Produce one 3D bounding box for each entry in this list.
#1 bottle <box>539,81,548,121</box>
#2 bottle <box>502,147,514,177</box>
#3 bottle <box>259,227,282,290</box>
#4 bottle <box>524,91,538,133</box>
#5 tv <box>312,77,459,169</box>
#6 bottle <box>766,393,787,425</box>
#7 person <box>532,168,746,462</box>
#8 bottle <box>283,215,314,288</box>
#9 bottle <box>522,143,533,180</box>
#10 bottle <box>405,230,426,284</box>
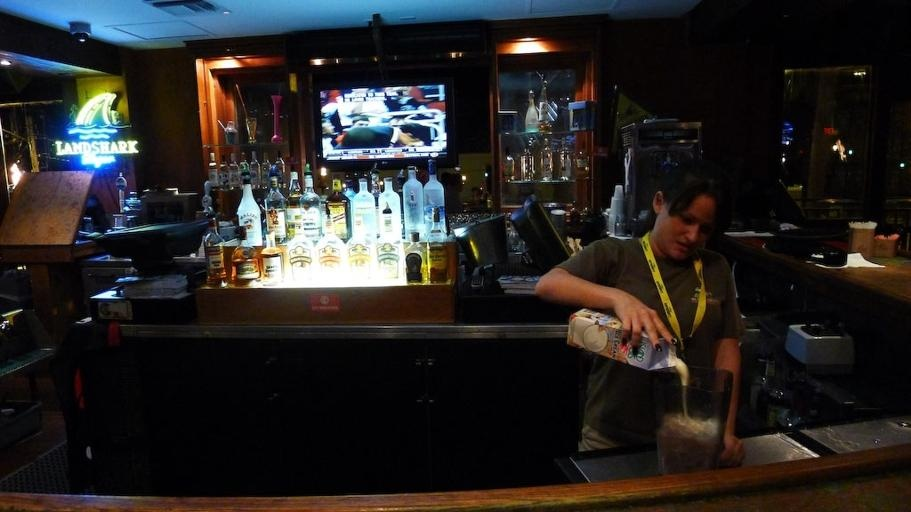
[{"bbox_3d":[1.016,-1.787,7.192,0.110,0.504,0.391,-3,11,9],"label":"bottle"},{"bbox_3d":[0.599,-1.079,7.160,0.142,0.344,0.071,-5,11,-5],"label":"bottle"},{"bbox_3d":[-1.362,0.010,4.541,0.170,0.374,0.204,-2,11,9],"label":"bottle"},{"bbox_3d":[0.873,-1.682,7.191,0.149,0.481,0.368,-3,11,8],"label":"bottle"},{"bbox_3d":[-0.829,-1.557,7.245,1.675,0.805,0.158,0,6,3],"label":"tv"},{"bbox_3d":[2.117,1.014,4.079,0.121,0.194,0.111,-4,11,1],"label":"bottle"},{"bbox_3d":[1.146,0.333,3.641,1.184,1.698,0.649,-4,11,1],"label":"person"},{"bbox_3d":[-1.138,0.038,4.514,0.237,0.321,0.169,-5,11,-6],"label":"bottle"},{"bbox_3d":[0.823,-1.072,7.153,0.148,0.393,0.127,-4,11,2],"label":"bottle"},{"bbox_3d":[-0.305,0.000,4.479,0.141,0.355,0.156,-4,11,0],"label":"bottle"}]
